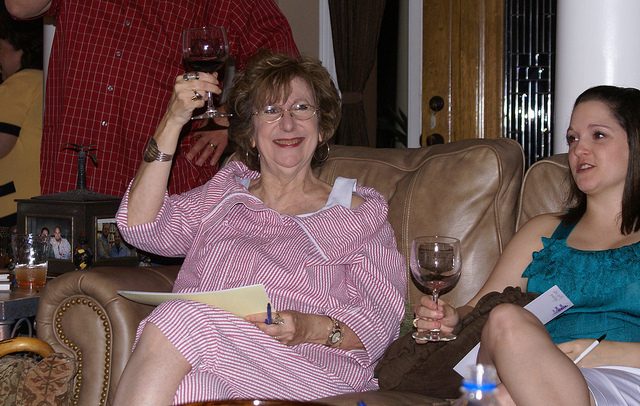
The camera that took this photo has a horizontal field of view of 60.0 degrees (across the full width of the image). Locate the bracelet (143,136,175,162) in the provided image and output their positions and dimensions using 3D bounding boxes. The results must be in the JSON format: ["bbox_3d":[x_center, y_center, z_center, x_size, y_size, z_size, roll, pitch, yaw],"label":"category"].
[{"bbox_3d":[-0.743,-0.245,2.564,0.102,0.086,0.106,24,6,42],"label":"bracelet"}]

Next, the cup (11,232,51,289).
[{"bbox_3d":[-1.425,0.287,2.708,0.159,0.272,0.182,-5,-5,44],"label":"cup"}]

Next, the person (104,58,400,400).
[{"bbox_3d":[-0.218,0.126,2.566,1.025,1.056,1.741,15,28,21],"label":"person"}]

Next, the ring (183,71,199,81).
[{"bbox_3d":[-0.572,-0.564,2.451,0.078,0.036,0.014,1,6,9],"label":"ring"}]

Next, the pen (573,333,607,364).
[{"bbox_3d":[1.073,0.579,2.177,0.023,0.175,0.025,-3,46,-52],"label":"pen"}]

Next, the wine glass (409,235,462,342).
[{"bbox_3d":[0.453,0.336,2.183,0.192,0.396,0.176,3,6,21],"label":"wine glass"}]

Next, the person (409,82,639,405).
[{"bbox_3d":[0.937,0.116,2.217,0.900,1.210,0.675,-4,7,-41],"label":"person"}]

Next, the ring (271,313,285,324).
[{"bbox_3d":[-0.170,0.459,2.200,0.034,0.036,0.014,1,-15,1],"label":"ring"}]

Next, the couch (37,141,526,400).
[{"bbox_3d":[-0.020,0.140,2.621,1.657,1.589,1.364,-5,-19,26],"label":"couch"}]

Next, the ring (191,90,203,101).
[{"bbox_3d":[-0.546,-0.481,2.458,0.039,0.033,0.022,-30,26,12],"label":"ring"}]

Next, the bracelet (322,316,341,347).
[{"bbox_3d":[0.057,0.549,2.330,0.024,0.092,0.093,7,5,18],"label":"bracelet"}]

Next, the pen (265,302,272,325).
[{"bbox_3d":[-0.204,0.435,2.189,0.029,0.090,0.020,1,6,6],"label":"pen"}]
